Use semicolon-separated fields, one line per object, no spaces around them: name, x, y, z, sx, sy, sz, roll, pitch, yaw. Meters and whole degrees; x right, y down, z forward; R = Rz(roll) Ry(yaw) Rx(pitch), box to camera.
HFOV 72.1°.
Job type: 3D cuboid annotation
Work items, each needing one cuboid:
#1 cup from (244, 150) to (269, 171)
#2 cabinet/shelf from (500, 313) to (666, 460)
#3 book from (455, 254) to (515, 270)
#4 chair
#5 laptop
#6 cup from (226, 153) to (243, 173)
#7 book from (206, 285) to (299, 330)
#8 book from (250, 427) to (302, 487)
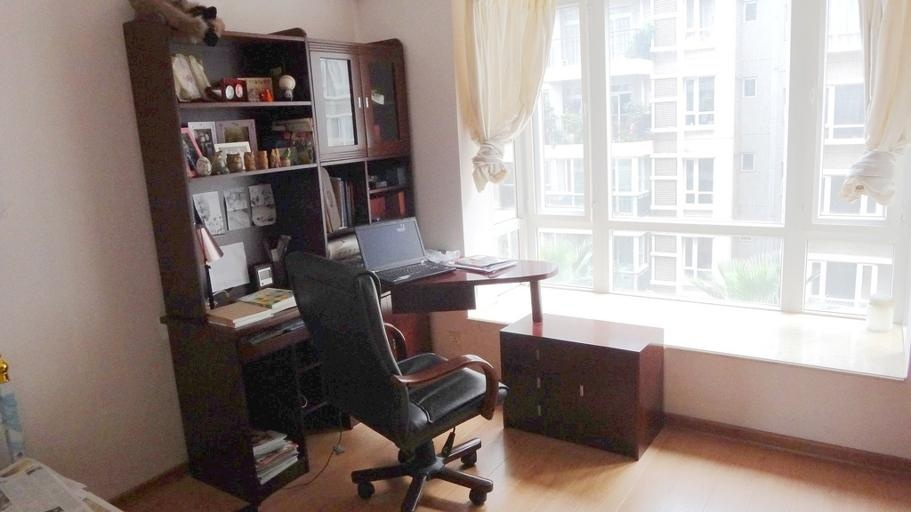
cup;-1.466;-0.707;4.646;0.171;0.120;0.166;-1;14;0
cabinet/shelf;1.024;0.832;5.046;1.698;1.117;0.899;3;9;29
book;0.241;0.048;4.994;0.208;0.043;0.218;13;18;37
chair;-0.375;0.817;4.243;1.237;1.765;0.725;-8;18;-15
laptop;-0.423;-0.036;4.943;0.589;0.383;0.670;14;23;42
cup;-1.579;-0.670;4.501;0.148;0.140;0.110;-2;1;40
book;-1.469;0.364;4.471;0.343;0.082;0.372;7;19;42
book;-1.295;1.421;4.475;0.333;0.109;0.344;4;13;43
